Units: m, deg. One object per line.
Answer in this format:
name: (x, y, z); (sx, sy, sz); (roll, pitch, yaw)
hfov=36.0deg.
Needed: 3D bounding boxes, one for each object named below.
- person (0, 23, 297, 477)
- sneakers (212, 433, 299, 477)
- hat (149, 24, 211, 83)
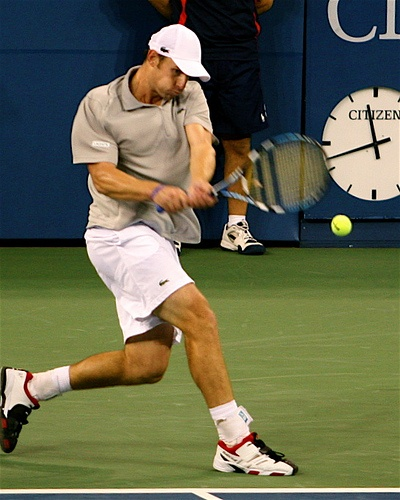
person: (-0.288, -0.072, 2.322); (0.999, 1.555, 1.034); (0, 13, 3)
sneakers: (0.194, 0.663, 1.983); (0.312, 0.107, 0.108); (-8, -18, 37)
hat: (-0.073, -0.750, 2.363); (0.290, 0.137, 0.190); (34, 33, 21)
